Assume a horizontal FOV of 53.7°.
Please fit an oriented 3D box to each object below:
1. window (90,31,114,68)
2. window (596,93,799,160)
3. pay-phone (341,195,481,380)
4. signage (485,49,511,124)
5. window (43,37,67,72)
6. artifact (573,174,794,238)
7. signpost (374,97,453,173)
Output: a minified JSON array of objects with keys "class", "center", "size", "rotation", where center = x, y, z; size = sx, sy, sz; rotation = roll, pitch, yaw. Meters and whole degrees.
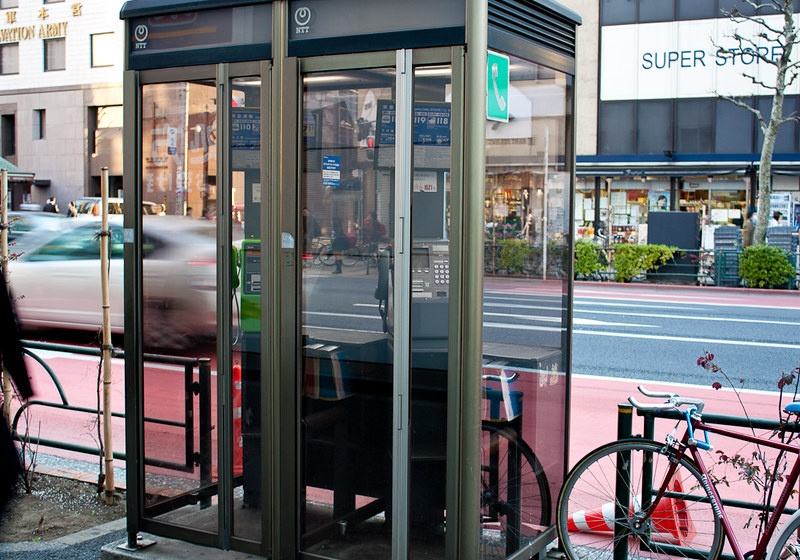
[{"class":"window","center":[-13.458,-10.453,35.999],"size":[1.541,2.001,0.166],"rotation":[-3,-6,25]},{"class":"window","center":[10.377,-5.794,29.868],"size":[5.565,1.998,0.359],"rotation":[3,4,21]},{"class":"pay-phone","center":[0.069,0.021,5.115],"size":[0.294,1.169,0.795],"rotation":[-2,5,-43]},{"class":"signage","center":[0.614,-1.249,5.043],"size":[0.026,0.620,0.536],"rotation":[-1,0,24]},{"class":"window","center":[-16.019,-10.531,36.977],"size":[1.634,2.050,0.228],"rotation":[-3,-5,31]},{"class":"artifact","center":[9.612,-2.685,29.614],"size":[5.920,2.523,1.211],"rotation":[3,4,11]},{"class":"signpost","center":[0.107,-0.924,5.005],"size":[0.481,0.442,0.167],"rotation":[2,4,18]}]
